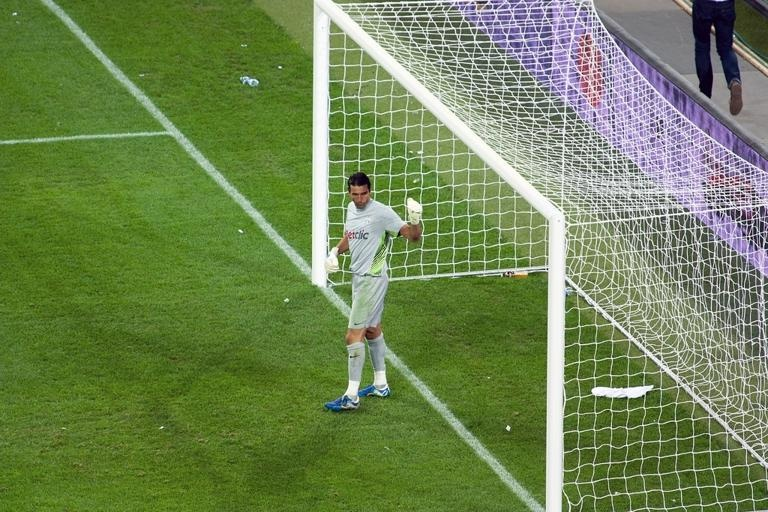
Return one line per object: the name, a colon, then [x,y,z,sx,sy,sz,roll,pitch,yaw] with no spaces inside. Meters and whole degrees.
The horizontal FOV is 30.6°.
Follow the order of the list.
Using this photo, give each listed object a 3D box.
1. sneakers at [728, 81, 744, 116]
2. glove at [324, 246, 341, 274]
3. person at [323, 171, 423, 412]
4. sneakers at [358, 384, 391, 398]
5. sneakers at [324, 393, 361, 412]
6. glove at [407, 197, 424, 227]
sneakers: [4.310,-1.958,17.248,0.167,0.409,0.181,-2,20,15]
glove: [-0.540,0.037,14.324,0.116,0.234,0.179,14,-27,-22]
person: [-0.132,0.341,14.188,0.932,2.182,1.274,-2,37,5]
sneakers: [-0.114,1.400,14.549,0.345,0.123,0.119,2,5,1]
sneakers: [-0.429,1.500,14.294,0.400,0.166,0.140,0,2,-6]
glove: [0.252,-0.444,13.860,0.154,0.267,0.218,1,12,15]
